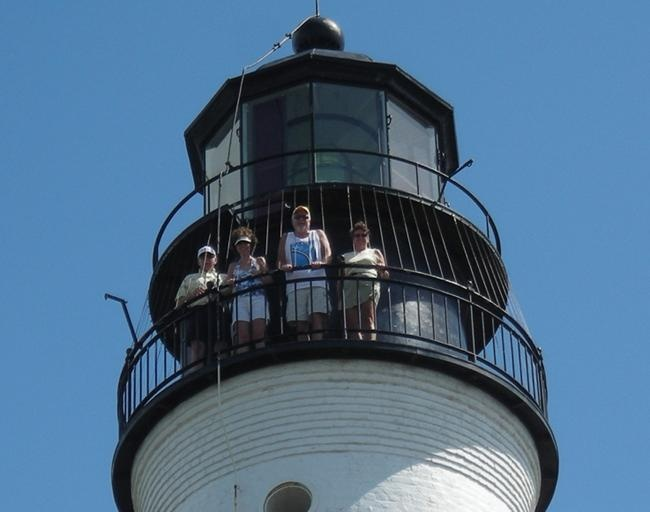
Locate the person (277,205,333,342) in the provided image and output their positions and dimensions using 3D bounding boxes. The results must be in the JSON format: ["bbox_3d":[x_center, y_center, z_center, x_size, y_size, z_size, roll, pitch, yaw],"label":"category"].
[{"bbox_3d":[-0.316,0.318,32.851,0.600,2.415,0.690,-2,-24,-5],"label":"person"}]

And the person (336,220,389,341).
[{"bbox_3d":[0.551,0.484,32.752,0.720,2.408,0.555,-11,-38,15],"label":"person"}]

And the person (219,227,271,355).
[{"bbox_3d":[-1.249,0.549,33.030,0.727,2.430,0.955,-4,-45,2],"label":"person"}]
